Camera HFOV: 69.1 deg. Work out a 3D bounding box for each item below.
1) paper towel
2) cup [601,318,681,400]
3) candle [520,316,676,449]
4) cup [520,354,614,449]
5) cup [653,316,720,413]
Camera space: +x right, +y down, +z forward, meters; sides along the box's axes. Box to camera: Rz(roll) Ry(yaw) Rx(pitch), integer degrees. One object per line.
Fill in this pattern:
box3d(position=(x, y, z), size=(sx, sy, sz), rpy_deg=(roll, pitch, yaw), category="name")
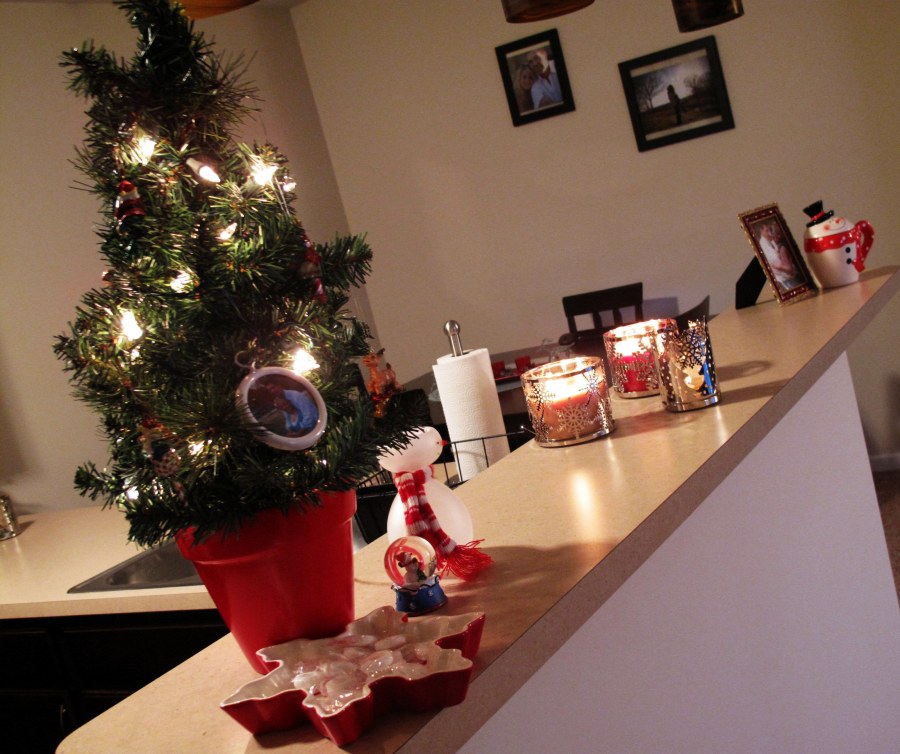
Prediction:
box3d(position=(0.041, 0.070, 1.197), size=(0.109, 0.213, 0.242), rpy_deg=(-14, 4, 2), category="paper towel")
box3d(position=(0.304, -0.027, 1.126), size=(0.118, 0.149, 0.132), rpy_deg=(-10, 10, 6), category="cup")
box3d(position=(0.250, -0.006, 1.119), size=(0.144, 0.120, 0.298), rpy_deg=(-2, 14, 37), category="candle")
box3d(position=(0.184, 0.039, 1.049), size=(0.132, 0.111, 0.138), rpy_deg=(-14, 6, 1), category="cup")
box3d(position=(0.368, -0.019, 1.024), size=(0.085, 0.103, 0.095), rpy_deg=(-13, 5, 19), category="cup")
